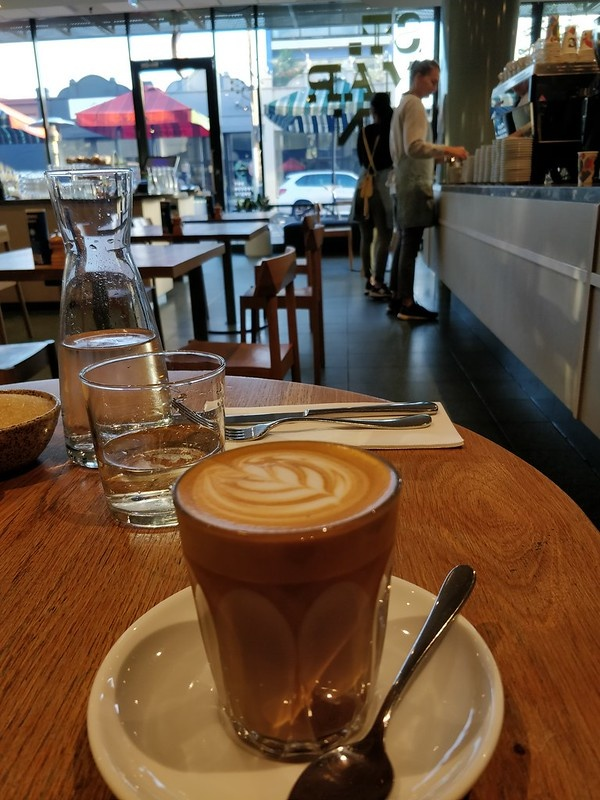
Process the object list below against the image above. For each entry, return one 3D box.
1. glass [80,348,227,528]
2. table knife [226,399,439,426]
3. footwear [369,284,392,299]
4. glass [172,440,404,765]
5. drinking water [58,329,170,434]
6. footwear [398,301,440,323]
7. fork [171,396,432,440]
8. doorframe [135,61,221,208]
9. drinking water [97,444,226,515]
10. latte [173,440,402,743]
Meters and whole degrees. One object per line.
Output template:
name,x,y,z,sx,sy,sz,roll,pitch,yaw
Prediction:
glass,-0.088,0.016,0.527,0.143,0.161,0.146,1,21,4
table knife,0.035,0.016,0.658,0.250,0.014,0.027,0,24,-1
footwear,0.808,-1.103,5.761,0.270,0.125,0.106,-1,39,-8
glass,-0.003,0.088,0.276,0.110,0.132,0.108,-1,21,1
drinking water,-0.175,-0.026,0.602,0.101,0.108,0.107,-2,10,0
footwear,0.991,-0.745,4.830,0.418,0.191,0.145,-1,17,-7
fork,0.004,0.022,0.597,0.219,0.039,0.031,-1,22,-11
doorframe,-1.824,-3.892,8.360,1.287,2.399,0.109,-3,-4,-2
drinking water,-0.122,0.075,0.501,0.100,0.075,0.100,-11,-12,36
latte,-0.005,0.083,0.242,0.087,0.110,0.091,-5,14,-14
